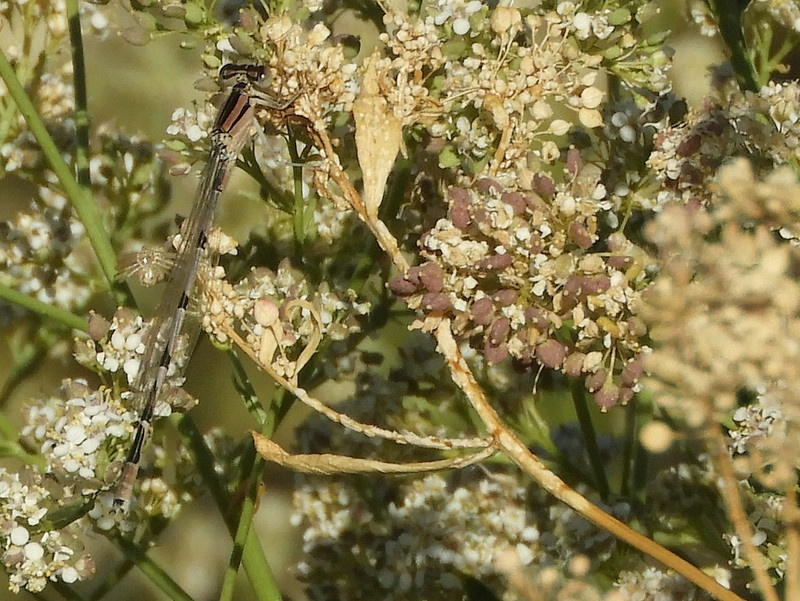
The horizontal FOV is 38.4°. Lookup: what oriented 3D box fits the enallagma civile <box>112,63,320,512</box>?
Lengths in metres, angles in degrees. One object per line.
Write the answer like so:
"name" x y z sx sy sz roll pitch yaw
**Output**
"enallagma civile" -0.352 -0.034 2.090 0.129 0.671 0.546 15 -37 -23
